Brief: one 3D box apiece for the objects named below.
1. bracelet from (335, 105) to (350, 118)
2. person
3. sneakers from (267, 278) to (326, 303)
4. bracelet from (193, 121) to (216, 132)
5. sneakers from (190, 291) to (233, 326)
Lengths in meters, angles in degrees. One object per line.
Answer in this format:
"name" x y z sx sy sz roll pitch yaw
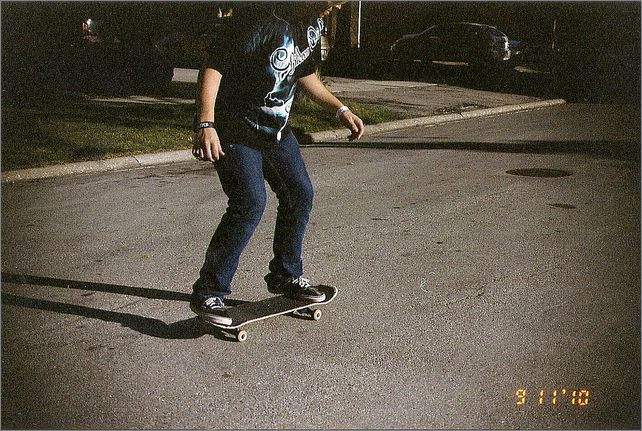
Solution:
"bracelet" 0.166 -0.902 5.384 0.093 0.040 0.103 -24 -7 1
"person" -0.478 -0.437 5.098 1.311 2.529 0.429 -6 14 -25
"sneakers" -0.213 0.620 5.470 0.584 0.241 0.196 6 25 3
"bracelet" -0.908 -0.689 4.797 0.158 0.083 0.124 -1 13 -4
"sneakers" -0.890 0.743 5.072 0.447 0.188 0.172 11 8 27
